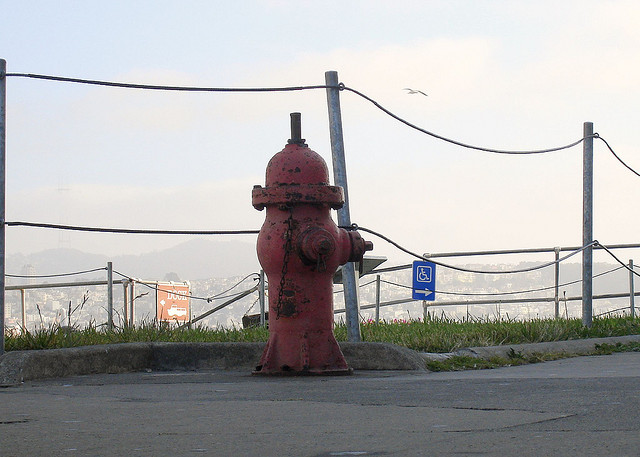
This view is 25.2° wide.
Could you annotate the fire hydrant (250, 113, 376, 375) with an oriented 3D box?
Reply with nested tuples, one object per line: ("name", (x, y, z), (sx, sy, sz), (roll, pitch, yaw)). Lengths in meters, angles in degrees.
("fire hydrant", (-0.023, 0.188, 11.814), (0.927, 2.110, 0.921), (0, -9, 5))
